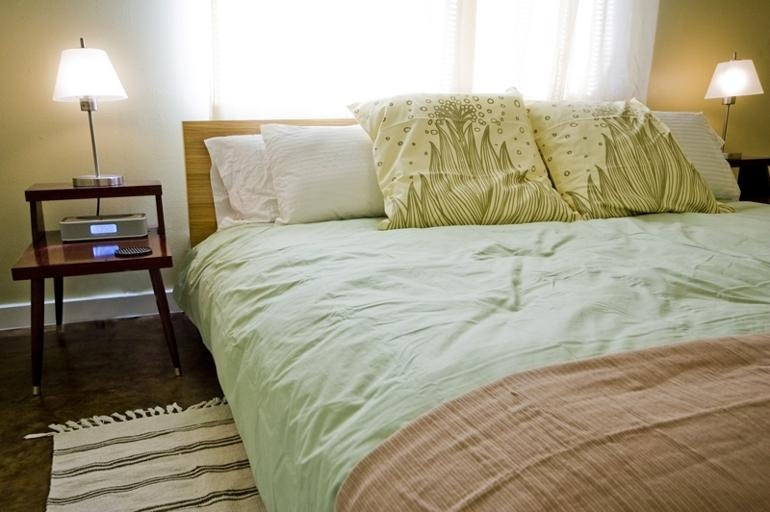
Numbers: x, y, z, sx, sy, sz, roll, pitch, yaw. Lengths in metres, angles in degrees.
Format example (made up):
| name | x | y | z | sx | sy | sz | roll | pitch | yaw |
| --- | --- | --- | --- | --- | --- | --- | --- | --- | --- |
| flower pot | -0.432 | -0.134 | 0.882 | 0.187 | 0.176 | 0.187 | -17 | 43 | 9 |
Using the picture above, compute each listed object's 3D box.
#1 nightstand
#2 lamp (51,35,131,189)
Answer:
| name | x | y | z | sx | sy | sz | roll | pitch | yaw |
| --- | --- | --- | --- | --- | --- | --- | --- | --- | --- |
| nightstand | -1.151 | 0.069 | 2.403 | 0.791 | 0.997 | 0.889 | -5 | 14 | -21 |
| lamp | -1.249 | -0.640 | 2.282 | 0.298 | 0.668 | 0.436 | -11 | 14 | -28 |
